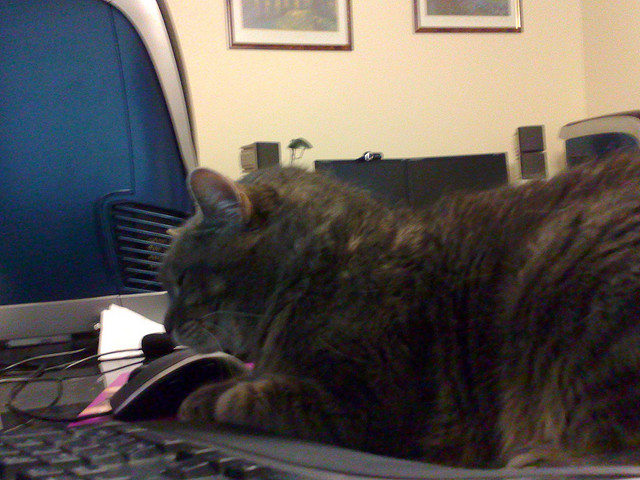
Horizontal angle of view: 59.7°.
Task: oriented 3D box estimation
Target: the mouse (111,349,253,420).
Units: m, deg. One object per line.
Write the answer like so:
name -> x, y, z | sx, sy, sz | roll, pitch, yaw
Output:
mouse -> -0.289, 0.323, 1.329 | 0.456, 0.120, 0.238 | -2, -4, -21

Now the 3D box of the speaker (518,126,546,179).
speaker -> 1.126, -0.442, 2.959 | 0.129, 0.293, 0.362 | -4, 8, 19

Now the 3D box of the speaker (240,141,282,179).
speaker -> -0.284, -0.401, 2.689 | 0.123, 0.123, 0.205 | -2, 11, 28
